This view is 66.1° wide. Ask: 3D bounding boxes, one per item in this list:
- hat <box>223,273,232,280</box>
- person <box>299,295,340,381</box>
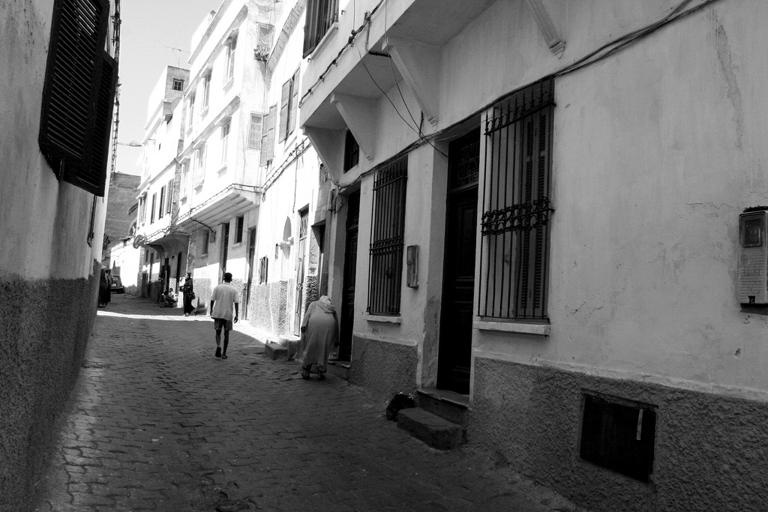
[{"bbox_3d":[-3.608,0.490,13.613,0.184,0.206,0.175,-5,-6,35],"label":"hat"},{"bbox_3d":[-1.244,1.578,11.735,0.729,1.782,0.580,12,-38,-14],"label":"person"}]
